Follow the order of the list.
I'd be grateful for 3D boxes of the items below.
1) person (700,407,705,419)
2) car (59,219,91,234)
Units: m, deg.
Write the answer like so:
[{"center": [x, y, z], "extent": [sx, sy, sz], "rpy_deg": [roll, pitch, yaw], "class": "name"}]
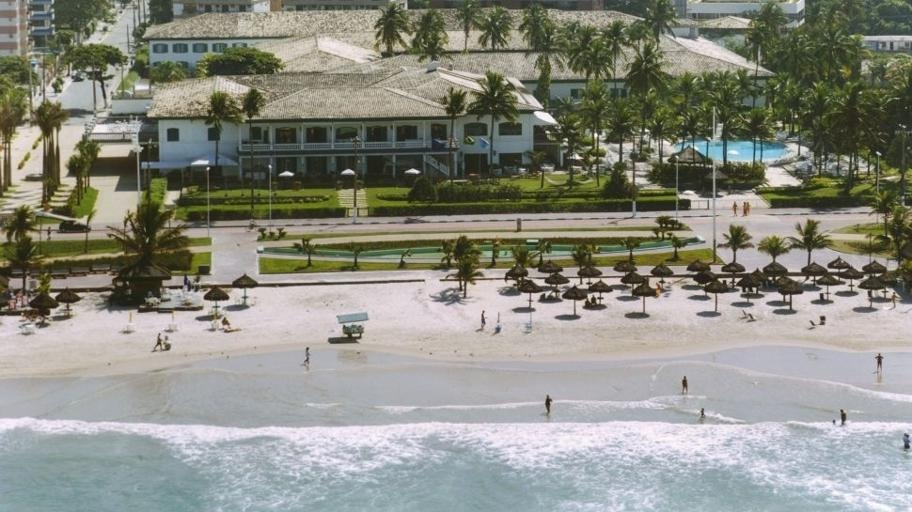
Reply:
[{"center": [36.979, 23.510, 253.006], "extent": [0.950, 1.172, 1.227], "rpy_deg": [2, 24, 8], "class": "person"}, {"center": [-67.968, -5.001, 299.406], "extent": [5.713, 1.674, 2.486], "rpy_deg": [-2, 9, -9], "class": "car"}]
